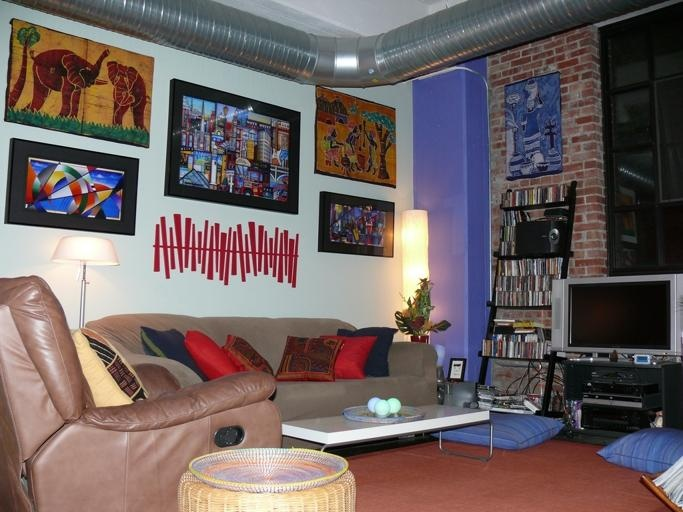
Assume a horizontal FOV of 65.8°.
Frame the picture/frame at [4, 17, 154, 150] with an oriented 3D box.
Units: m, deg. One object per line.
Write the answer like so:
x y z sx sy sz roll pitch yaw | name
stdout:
-2.181 -1.396 4.279 1.055 0.763 0.042 1 -1 -38 | picture/frame

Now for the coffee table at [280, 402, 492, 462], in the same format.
0.299 1.032 3.374 1.433 0.174 0.398 3 0 -36 | coffee table

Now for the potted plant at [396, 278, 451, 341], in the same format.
0.997 0.589 6.017 0.634 0.882 0.594 -2 -4 14 | potted plant

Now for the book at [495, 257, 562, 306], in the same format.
1.957 0.255 5.568 0.670 0.453 0.102 3 1 36 | book

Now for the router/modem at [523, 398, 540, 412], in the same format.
1.831 1.405 5.087 0.132 0.043 0.137 11 4 13 | router/modem

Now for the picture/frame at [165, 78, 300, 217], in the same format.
-1.089 -1.013 5.014 1.302 1.003 0.046 9 -14 -38 | picture/frame

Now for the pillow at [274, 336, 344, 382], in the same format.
-0.268 0.850 4.480 0.523 0.229 0.481 3 0 0 | pillow

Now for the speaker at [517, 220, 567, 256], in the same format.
2.138 -0.175 5.632 0.323 0.404 0.540 7 -9 -43 | speaker

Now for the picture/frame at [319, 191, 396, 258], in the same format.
0.172 -0.351 5.871 1.030 0.477 0.122 3 1 -37 | picture/frame

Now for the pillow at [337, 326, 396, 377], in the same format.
0.326 0.840 4.810 0.430 0.429 0.132 9 -20 -20 | pillow

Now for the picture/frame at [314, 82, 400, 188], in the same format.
0.129 -1.334 5.876 1.166 0.976 0.042 9 -13 -43 | picture/frame

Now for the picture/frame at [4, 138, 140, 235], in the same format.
-2.220 -0.557 4.247 0.773 0.579 0.030 6 -8 -38 | picture/frame
